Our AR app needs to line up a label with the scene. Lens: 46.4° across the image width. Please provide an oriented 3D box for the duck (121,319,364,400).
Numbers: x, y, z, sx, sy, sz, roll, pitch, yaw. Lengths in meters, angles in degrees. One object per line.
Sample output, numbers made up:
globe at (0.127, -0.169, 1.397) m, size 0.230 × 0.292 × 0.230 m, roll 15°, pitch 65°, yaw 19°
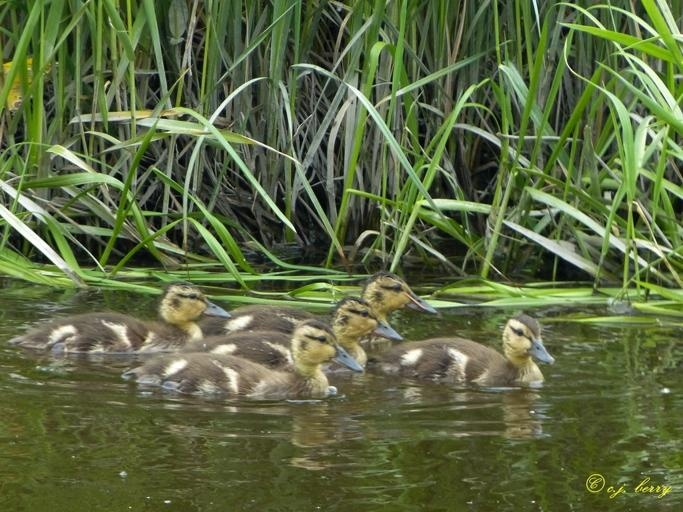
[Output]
duck at (-0.465, 0.499, 3.997) m, size 1.199 × 0.386 × 0.372 m, roll 4°, pitch 17°, yaw 13°

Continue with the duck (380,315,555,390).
duck at (0.659, 0.539, 4.202) m, size 0.939 × 0.316 × 0.457 m, roll 2°, pitch 39°, yaw 4°

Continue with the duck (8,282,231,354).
duck at (-1.221, 0.325, 4.551) m, size 1.249 × 0.360 × 0.394 m, roll 2°, pitch 12°, yaw -29°
